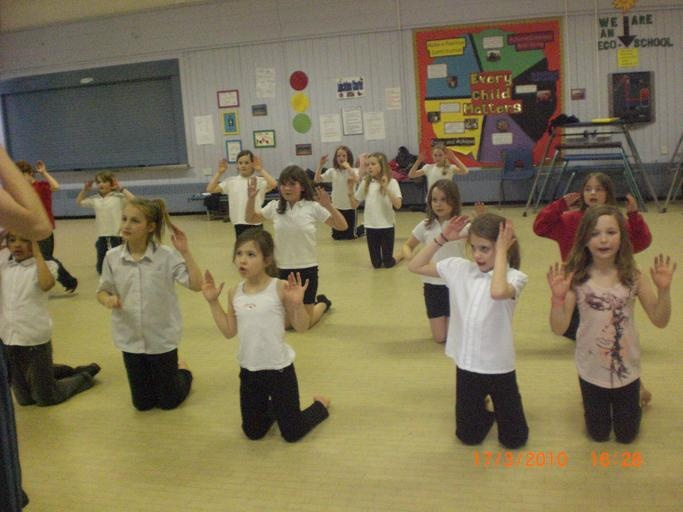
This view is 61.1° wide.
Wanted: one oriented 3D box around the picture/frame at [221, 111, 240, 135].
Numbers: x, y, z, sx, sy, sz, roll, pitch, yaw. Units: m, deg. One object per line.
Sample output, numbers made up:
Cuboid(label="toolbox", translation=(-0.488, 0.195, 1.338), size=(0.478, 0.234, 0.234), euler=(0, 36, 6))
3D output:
Cuboid(label="picture/frame", translation=(-2.394, -2.921, 12.499), size=(0.485, 0.672, 0.073), euler=(2, 15, 16))

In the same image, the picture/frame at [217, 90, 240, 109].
Cuboid(label="picture/frame", translation=(-2.420, -3.413, 12.430), size=(0.404, 0.289, 0.029), euler=(0, 5, 6))

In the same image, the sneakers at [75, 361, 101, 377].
Cuboid(label="sneakers", translation=(-1.883, 0.843, 4.316), size=(0.157, 0.066, 0.089), euler=(14, -12, -31))

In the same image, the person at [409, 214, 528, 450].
Cuboid(label="person", translation=(0.762, 0.396, 3.306), size=(0.435, 1.265, 0.638), euler=(-10, 15, -25))

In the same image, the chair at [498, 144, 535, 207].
Cuboid(label="chair", translation=(3.461, -1.526, 11.410), size=(0.778, 1.162, 0.860), euler=(1, 2, 2))

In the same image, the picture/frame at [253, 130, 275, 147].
Cuboid(label="picture/frame", translation=(-1.648, -2.551, 12.406), size=(0.354, 0.299, 0.035), euler=(3, 17, 12))

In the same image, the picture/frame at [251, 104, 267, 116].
Cuboid(label="picture/frame", translation=(-1.754, -3.129, 12.344), size=(0.340, 0.265, 0.053), euler=(0, 14, 17))

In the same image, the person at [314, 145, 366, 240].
Cuboid(label="person", translation=(0.021, -0.984, 9.012), size=(0.879, 1.452, 0.899), euler=(1, 0, -20))

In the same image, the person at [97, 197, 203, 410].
Cuboid(label="person", translation=(-1.224, 0.331, 3.763), size=(0.660, 1.387, 0.524), euler=(-7, 13, -11))

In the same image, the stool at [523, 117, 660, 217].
Cuboid(label="stool", translation=(4.724, -1.700, 10.853), size=(2.042, 1.540, 2.114), euler=(-2, -2, 19))

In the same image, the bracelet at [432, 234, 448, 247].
Cuboid(label="bracelet", translation=(0.579, -0.101, 3.527), size=(0.035, 0.077, 0.092), euler=(31, 22, 31))

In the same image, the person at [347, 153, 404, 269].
Cuboid(label="person", translation=(0.415, -0.582, 7.196), size=(0.620, 1.373, 0.968), euler=(-4, 13, 1))

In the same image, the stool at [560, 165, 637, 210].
Cuboid(label="stool", translation=(1.758, -0.444, 4.040), size=(0.309, 0.299, 0.517), euler=(-9, 14, -19))

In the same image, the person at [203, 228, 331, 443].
Cuboid(label="person", translation=(-0.459, 0.501, 3.568), size=(0.733, 1.249, 0.654), euler=(-1, -7, -8))

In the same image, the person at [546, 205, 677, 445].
Cuboid(label="person", translation=(1.446, 0.375, 3.187), size=(0.578, 1.264, 0.350), euler=(1, 14, 20))
